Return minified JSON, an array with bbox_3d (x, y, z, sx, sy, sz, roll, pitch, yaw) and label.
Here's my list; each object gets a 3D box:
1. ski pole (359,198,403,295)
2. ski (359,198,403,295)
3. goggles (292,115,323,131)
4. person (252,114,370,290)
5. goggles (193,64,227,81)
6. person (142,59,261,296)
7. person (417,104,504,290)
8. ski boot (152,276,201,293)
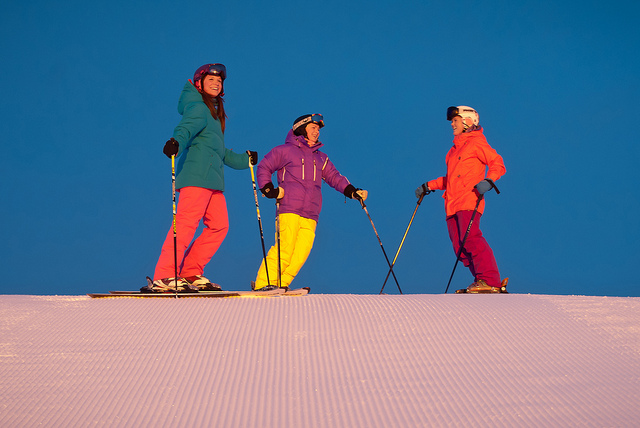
[{"bbox_3d":[0.414,0.260,6.010,0.028,0.973,0.062,-17,9,2],"label":"ski pole"},{"bbox_3d":[0.414,0.260,6.010,0.033,0.976,0.071,-18,8,7],"label":"ski"},{"bbox_3d":[-0.100,-0.799,7.907,0.156,0.040,0.122,-21,-9,18],"label":"goggles"},{"bbox_3d":[-0.219,-0.112,7.887,0.887,1.509,0.538,7,-6,-45],"label":"person"},{"bbox_3d":[-0.893,-1.156,7.495,0.267,0.157,0.183,4,-5,-14],"label":"goggles"},{"bbox_3d":[-0.969,-0.300,7.290,0.507,1.880,1.004,0,-5,29],"label":"person"},{"bbox_3d":[1.318,-0.157,7.770,0.426,1.574,0.648,3,-5,-9],"label":"person"},{"bbox_3d":[-1.104,0.538,7.017,0.377,0.160,0.131,1,5,-3],"label":"ski boot"}]
